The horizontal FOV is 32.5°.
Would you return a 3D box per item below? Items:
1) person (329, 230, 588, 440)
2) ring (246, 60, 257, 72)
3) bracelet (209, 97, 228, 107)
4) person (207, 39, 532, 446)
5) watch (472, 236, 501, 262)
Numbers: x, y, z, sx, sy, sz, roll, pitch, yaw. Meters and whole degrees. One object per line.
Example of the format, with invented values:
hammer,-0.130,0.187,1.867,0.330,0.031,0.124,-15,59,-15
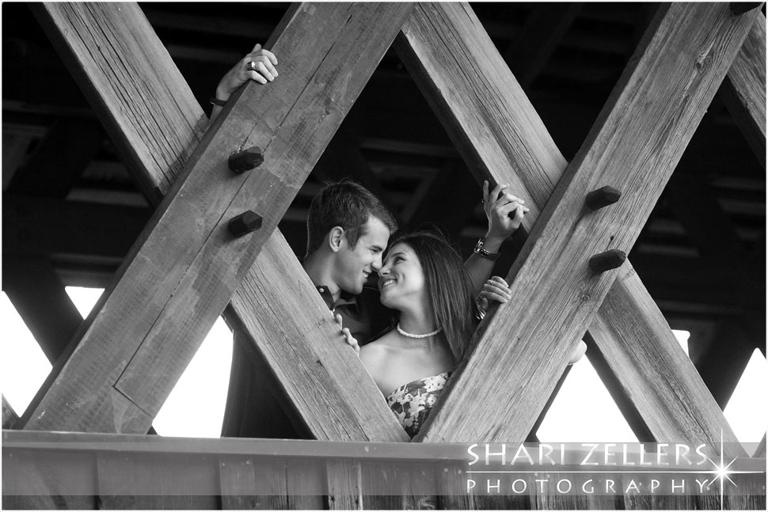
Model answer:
person,0.255,0.277,4.729,0.673,1.053,0.340,2,-38,0
ring,-0.457,-0.660,4.527,0.037,0.031,0.017,4,-31,-1
bracelet,-0.579,-0.542,4.574,0.039,0.011,0.037,22,10,39
person,-0.187,0.062,5.061,0.343,1.370,1.453,-1,-29,46
watch,0.392,-0.029,5.031,0.080,0.092,0.088,12,-12,3
